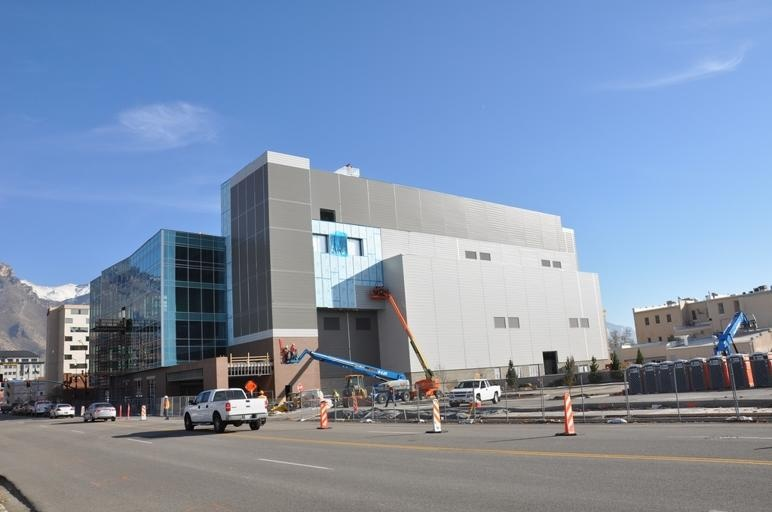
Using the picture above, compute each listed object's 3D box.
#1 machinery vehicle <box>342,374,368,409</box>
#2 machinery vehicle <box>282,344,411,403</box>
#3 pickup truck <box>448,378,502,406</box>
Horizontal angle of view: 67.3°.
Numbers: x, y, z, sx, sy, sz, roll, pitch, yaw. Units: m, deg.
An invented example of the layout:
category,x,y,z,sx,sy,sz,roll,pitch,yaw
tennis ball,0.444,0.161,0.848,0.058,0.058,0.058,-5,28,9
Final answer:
category,x,y,z,sx,sy,sz,roll,pitch,yaw
machinery vehicle,-2.969,13.494,58.623,1.835,2.815,3.184,-4,-1,-8
machinery vehicle,-4.178,11.516,56.107,13.250,3.698,2.415,13,-7,-4
pickup truck,7.014,10.861,45.984,2.221,1.374,4.075,-13,-18,37
